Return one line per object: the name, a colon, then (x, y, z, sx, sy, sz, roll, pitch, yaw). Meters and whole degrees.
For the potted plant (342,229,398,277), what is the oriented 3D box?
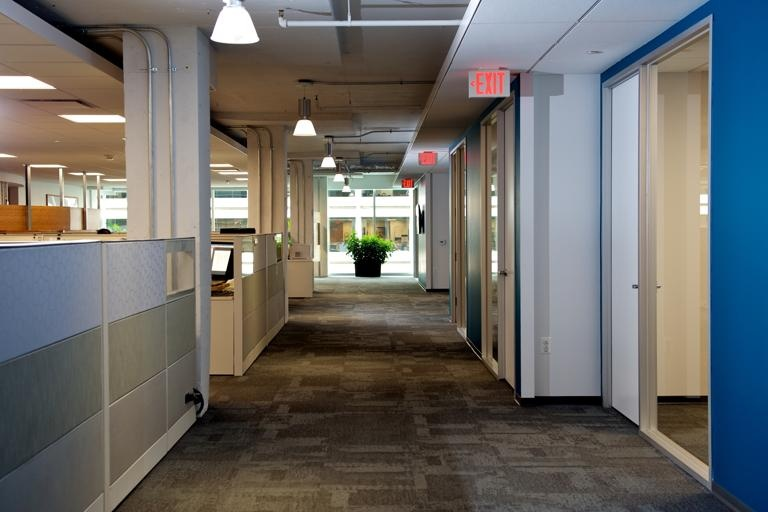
potted plant: (-0.450, -0.065, 18.848, 1.855, 1.578, 1.430, 0, 2, -7)

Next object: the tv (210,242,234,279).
tv: (-2.058, 0.065, 6.785, 0.372, 0.496, 0.146, 4, 9, 34)

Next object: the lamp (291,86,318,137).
lamp: (-1.149, -2.024, 7.615, 0.363, 0.545, 0.316, -3, 15, -19)
